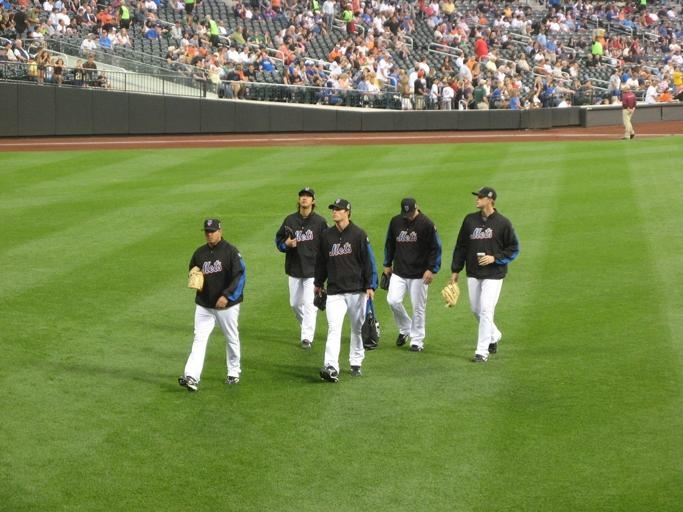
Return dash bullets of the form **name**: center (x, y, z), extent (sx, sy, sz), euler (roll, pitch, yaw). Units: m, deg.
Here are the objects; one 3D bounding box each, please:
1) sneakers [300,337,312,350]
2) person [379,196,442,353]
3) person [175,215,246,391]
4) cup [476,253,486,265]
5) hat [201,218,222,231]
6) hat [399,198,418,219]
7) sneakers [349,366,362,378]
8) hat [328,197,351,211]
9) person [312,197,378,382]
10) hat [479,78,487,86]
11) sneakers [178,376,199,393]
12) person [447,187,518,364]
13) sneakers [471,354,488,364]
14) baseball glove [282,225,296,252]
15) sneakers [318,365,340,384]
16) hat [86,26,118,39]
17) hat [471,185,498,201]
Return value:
- **sneakers**: center (-0.451, 1.067, 10.139), extent (0.143, 0.174, 0.389), euler (-1, 1, 2)
- **person**: center (0.836, 0.193, 10.108), extent (0.687, 1.871, 0.644), euler (0, 11, -2)
- **person**: center (-1.432, 0.486, 8.918), extent (0.696, 1.817, 0.837), euler (-1, 11, -7)
- **cup**: center (1.622, 0.021, 9.465), extent (0.082, 0.139, 0.145), euler (1, 11, 3)
- **hat**: center (-1.410, -0.337, 8.788), extent (0.162, 0.150, 0.266), euler (-1, 11, -11)
- **hat**: center (0.805, -0.607, 9.889), extent (0.167, 0.136, 0.248), euler (3, 45, 10)
- **sneakers**: center (0.150, 1.290, 9.213), extent (0.111, 0.120, 0.271), euler (0, -5, 0)
- **hat**: center (0.034, -0.571, 8.999), extent (0.255, 0.135, 0.173), euler (14, -4, -34)
- **person**: center (0.027, 0.352, 9.063), extent (0.672, 1.974, 0.793), euler (0, 11, -2)
- **hat**: center (5.454, -6.722, 31.464), extent (0.296, 0.224, 0.382), euler (-2, 2, 39)
- **sneakers**: center (-1.640, 1.337, 8.742), extent (0.129, 0.116, 0.272), euler (-13, -12, 18)
- **person**: center (1.651, 0.185, 9.650), extent (0.524, 2.004, 0.668), euler (-10, 15, -43)
- **sneakers**: center (1.605, 1.182, 9.548), extent (0.074, 0.083, 0.203), euler (-1, -4, 40)
- **baseball glove**: center (-0.661, -0.242, 10.119), extent (0.067, 0.243, 0.178), euler (1, 2, 38)
- **sneakers**: center (-0.138, 1.264, 8.899), extent (0.255, 0.123, 0.113), euler (36, -16, -34)
- **hat**: center (-8.485, -7.867, 28.627), extent (1.064, 0.559, 1.125), euler (-2, 11, -17)
- **hat**: center (1.704, -0.743, 9.559), extent (0.325, 0.182, 0.240), euler (3, 5, -4)
